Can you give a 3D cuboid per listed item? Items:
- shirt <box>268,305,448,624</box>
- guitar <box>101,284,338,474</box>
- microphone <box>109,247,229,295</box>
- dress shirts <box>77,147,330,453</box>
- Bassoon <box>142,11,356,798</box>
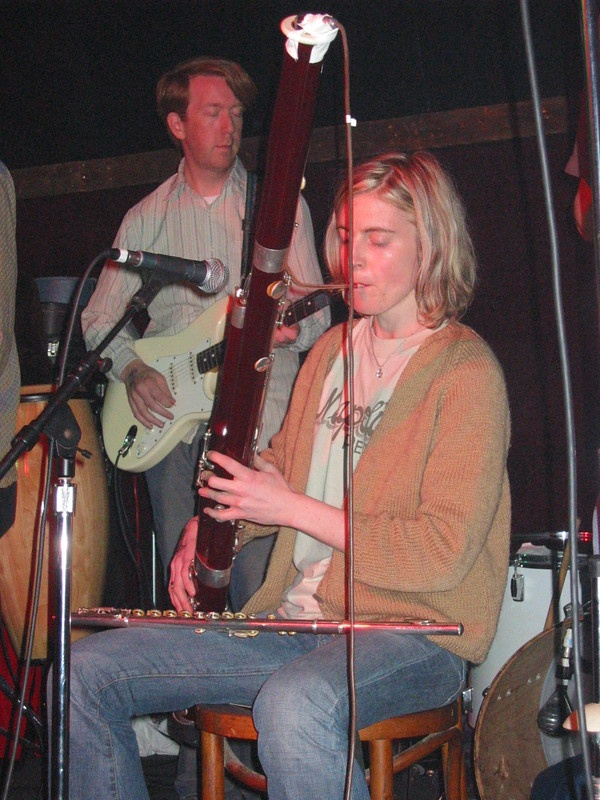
[{"bbox_3d":[0.139,0.132,1.640,0.067,0.624,0.247,18,-8,-23],"label":"shirt"},{"bbox_3d":[-0.334,-0.024,2.771,0.905,0.390,0.126,-40,-29,24],"label":"guitar"},{"bbox_3d":[-0.211,-0.205,1.482,0.249,0.083,0.082,7,4,-37],"label":"microphone"},{"bbox_3d":[-0.258,-0.257,2.294,1.279,0.491,0.149,12,12,29],"label":"dress shirts"},{"bbox_3d":[-0.168,0.041,1.388,0.164,1.241,0.169,2,25,-28],"label":"Bassoon"}]
